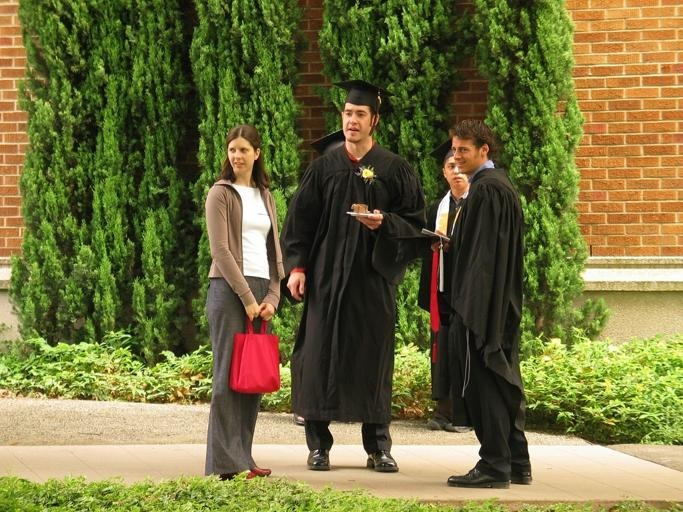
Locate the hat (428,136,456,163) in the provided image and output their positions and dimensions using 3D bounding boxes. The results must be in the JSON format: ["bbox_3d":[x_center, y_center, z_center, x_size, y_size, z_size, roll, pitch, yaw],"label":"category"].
[{"bbox_3d":[1.156,-1.177,10.457,0.202,0.073,0.305,-45,-7,17],"label":"hat"}]

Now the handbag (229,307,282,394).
[{"bbox_3d":[-0.788,0.898,8.328,0.440,0.625,0.170,0,2,-9],"label":"handbag"}]

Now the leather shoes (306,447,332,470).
[{"bbox_3d":[-0.199,1.914,8.758,0.238,0.180,0.223,0,2,-10],"label":"leather shoes"}]

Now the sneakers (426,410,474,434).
[{"bbox_3d":[1.120,1.776,9.962,0.621,0.287,0.219,0,-5,-8],"label":"sneakers"}]

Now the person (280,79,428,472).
[{"bbox_3d":[0.121,0.157,8.954,1.357,3.694,0.785,0,2,-5],"label":"person"}]

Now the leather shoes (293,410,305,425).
[{"bbox_3d":[-0.442,1.705,9.779,0.139,0.108,0.309,3,-4,-7],"label":"leather shoes"}]

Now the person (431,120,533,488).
[{"bbox_3d":[1.382,0.403,8.499,0.753,3.300,0.678,0,2,9],"label":"person"}]

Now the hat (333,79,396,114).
[{"bbox_3d":[0.257,-1.703,9.917,0.460,0.247,0.590,31,-13,-31],"label":"hat"}]

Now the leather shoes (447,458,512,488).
[{"bbox_3d":[1.267,1.953,8.430,0.550,0.293,0.234,3,-9,4],"label":"leather shoes"}]

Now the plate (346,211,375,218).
[{"bbox_3d":[0.187,-0.389,8.786,0.273,0.053,0.430,0,2,0],"label":"plate"}]

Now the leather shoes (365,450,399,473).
[{"bbox_3d":[0.395,1.944,8.766,0.136,0.142,0.315,3,-10,-23],"label":"leather shoes"}]
